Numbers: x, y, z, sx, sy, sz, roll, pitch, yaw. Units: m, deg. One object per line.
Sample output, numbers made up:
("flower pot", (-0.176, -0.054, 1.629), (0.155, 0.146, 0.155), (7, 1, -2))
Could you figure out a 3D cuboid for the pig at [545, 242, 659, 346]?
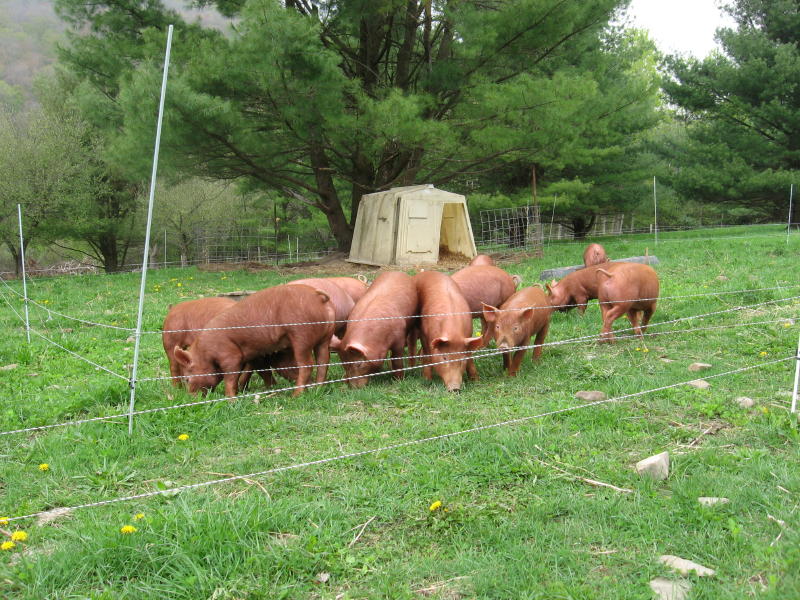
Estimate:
("pig", (3.154, -0.086, 12.040), (1.146, 1.317, 1.330), (0, 12, -10))
